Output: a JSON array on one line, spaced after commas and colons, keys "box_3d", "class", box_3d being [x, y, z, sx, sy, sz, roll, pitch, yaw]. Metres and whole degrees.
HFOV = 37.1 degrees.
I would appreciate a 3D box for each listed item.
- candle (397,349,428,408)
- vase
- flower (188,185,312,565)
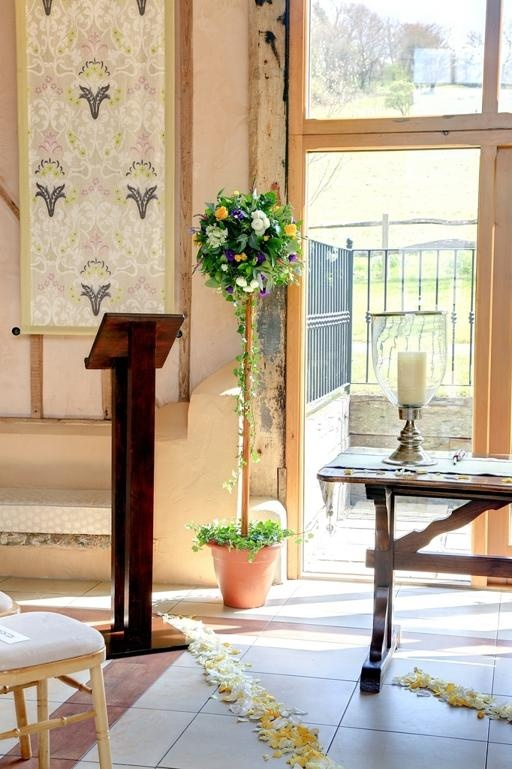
[{"box_3d": [0.545, -0.015, 2.666, 0.099, 0.194, 0.068, 0, 1, 10], "class": "candle"}, {"box_3d": [-0.040, 0.854, 3.444, 0.351, 0.266, 0.318, 4, -6, -26], "class": "vase"}, {"box_3d": [-0.029, -0.132, 3.326, 0.442, 1.600, 0.820, 0, 1, 3], "class": "flower"}]
